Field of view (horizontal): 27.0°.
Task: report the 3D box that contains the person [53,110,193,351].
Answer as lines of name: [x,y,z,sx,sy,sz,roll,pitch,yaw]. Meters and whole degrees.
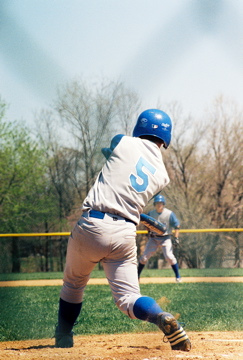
person: [-0.055,0.505,4.347,1.179,1.972,1.491,-8,-7,-5]

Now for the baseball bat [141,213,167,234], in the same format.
baseball bat: [0.247,0.353,4.270,0.089,0.102,0.361,-42,-39,17]
